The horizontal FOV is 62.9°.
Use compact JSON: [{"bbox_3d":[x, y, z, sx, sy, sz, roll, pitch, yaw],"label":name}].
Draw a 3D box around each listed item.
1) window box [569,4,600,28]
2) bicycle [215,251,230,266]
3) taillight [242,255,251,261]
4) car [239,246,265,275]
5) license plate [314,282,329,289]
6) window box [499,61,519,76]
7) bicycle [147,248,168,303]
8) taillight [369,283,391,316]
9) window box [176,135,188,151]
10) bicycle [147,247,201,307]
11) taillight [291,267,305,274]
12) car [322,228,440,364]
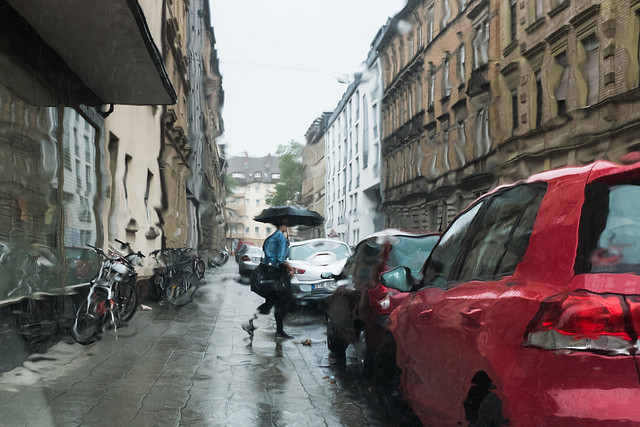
[{"bbox_3d":[8.302,-6.168,16.395,0.199,0.212,0.989,-25,-5,-9],"label":"window box"},{"bbox_3d":[-6.620,2.939,34.797,0.921,1.148,1.266,-6,-5,-1],"label":"bicycle"},{"bbox_3d":[-3.828,2.346,27.346,0.463,0.268,0.217,0,-3,17],"label":"taillight"},{"bbox_3d":[-3.793,2.465,29.082,1.723,1.504,4.221,1,2,-6],"label":"car"},{"bbox_3d":[0.047,1.683,12.182,0.330,0.150,0.079,1,-2,-5],"label":"license plate"},{"bbox_3d":[7.663,-5.824,21.088,0.259,0.180,0.864,14,-18,-8],"label":"window box"},{"bbox_3d":[-4.332,1.711,13.984,0.448,1.376,1.443,2,-3,-22],"label":"bicycle"},{"bbox_3d":[0.682,0.971,5.884,0.257,0.374,0.110,-8,-29,37],"label":"taillight"},{"bbox_3d":[-6.152,-3.213,23.449,0.467,0.184,0.777,10,-24,-31],"label":"window box"},{"bbox_3d":[-3.782,1.776,14.201,1.019,1.261,1.966,-1,-1,20],"label":"bicycle"},{"bbox_3d":[-0.498,1.348,12.250,0.254,0.084,0.179,1,2,-3],"label":"taillight"},{"bbox_3d":[0.710,0.958,6.784,1.066,1.003,1.967,0,1,-13],"label":"car"}]
